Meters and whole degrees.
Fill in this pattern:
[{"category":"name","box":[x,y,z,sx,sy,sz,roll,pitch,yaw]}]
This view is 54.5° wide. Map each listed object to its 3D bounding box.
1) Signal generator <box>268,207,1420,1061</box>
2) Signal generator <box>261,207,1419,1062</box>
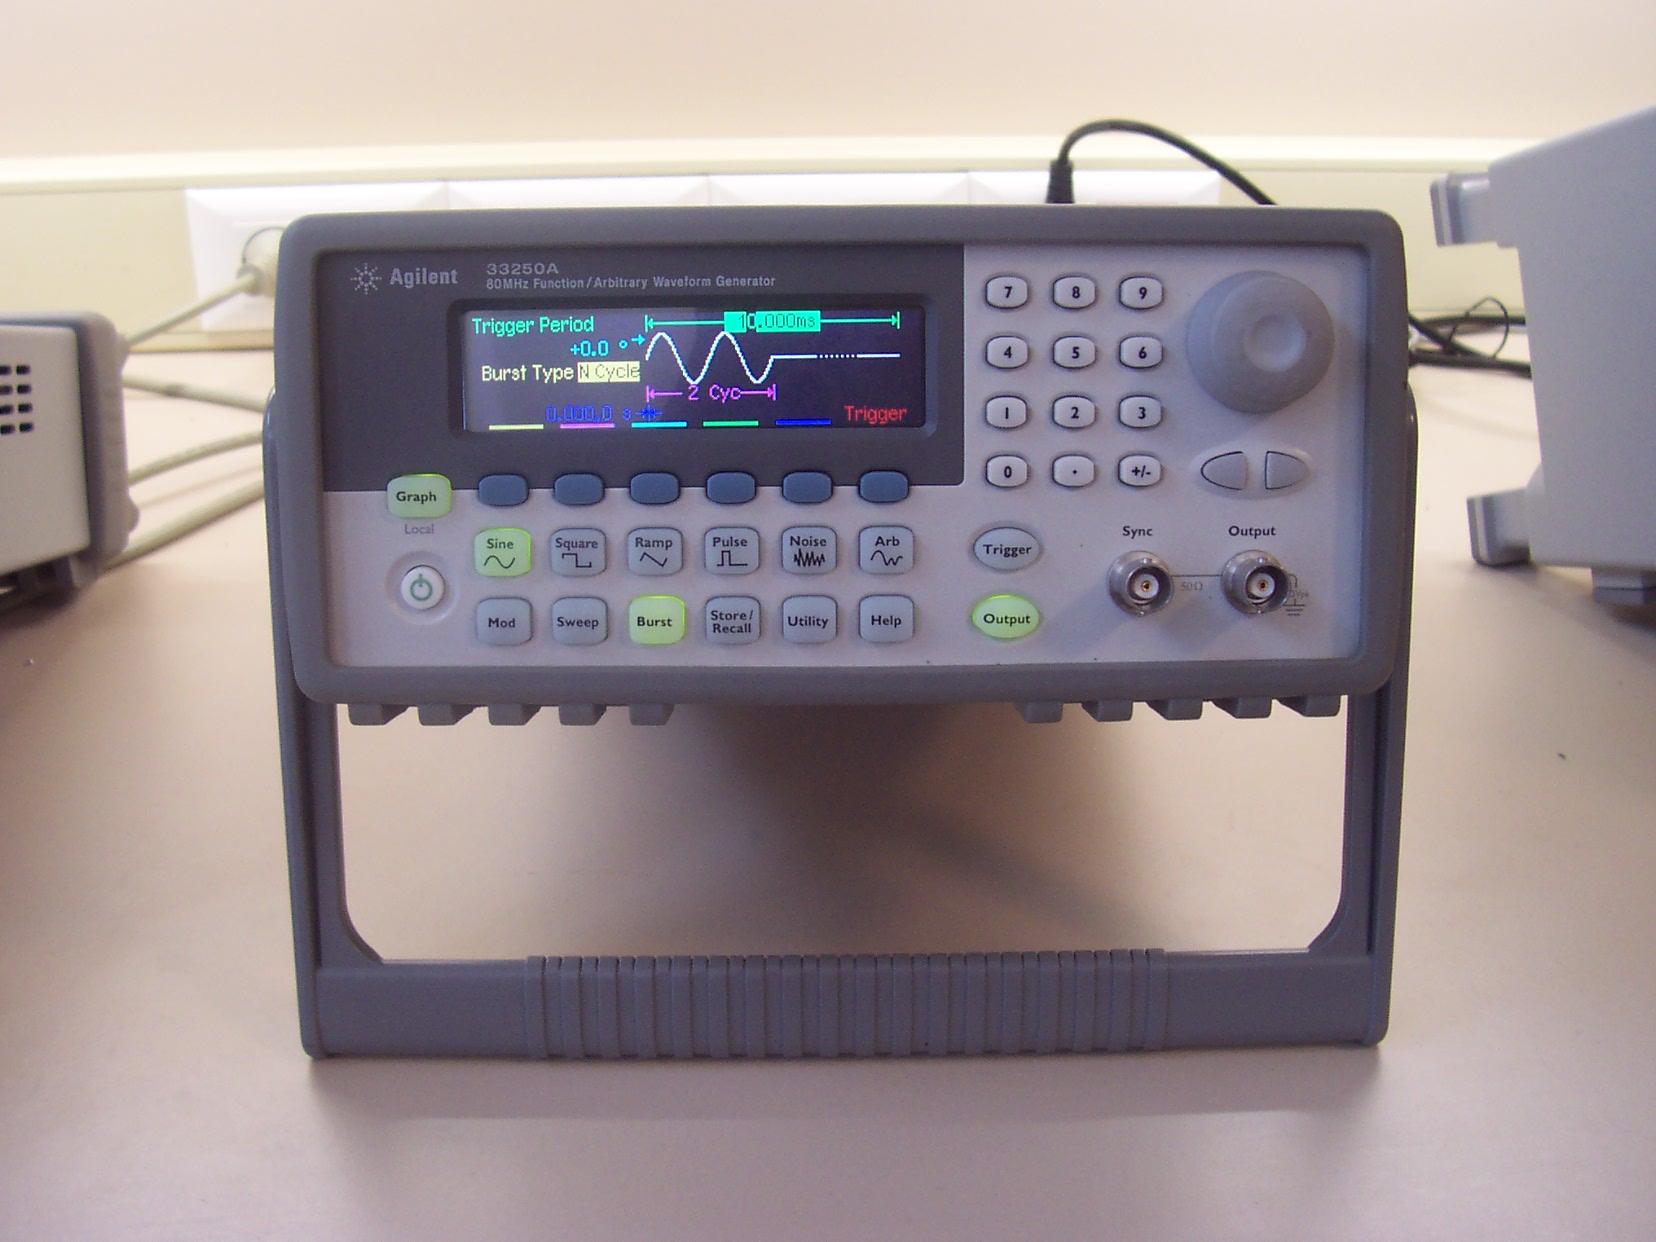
[{"category":"Signal generator","box":[0.012,0.003,0.875,0.626,0.480,0.412,0,8,0]},{"category":"Signal generator","box":[0.008,-0.051,0.878,0.625,0.480,0.413,0,8,1]}]
